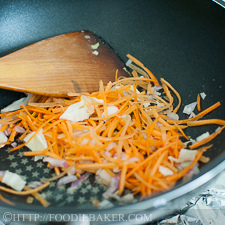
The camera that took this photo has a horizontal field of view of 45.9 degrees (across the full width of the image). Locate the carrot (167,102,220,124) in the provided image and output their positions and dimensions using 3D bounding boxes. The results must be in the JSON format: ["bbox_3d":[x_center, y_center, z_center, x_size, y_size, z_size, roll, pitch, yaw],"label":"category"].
[{"bbox_3d":[0.296,0.004,0.952,0.149,0.021,0.019,-25,21,18],"label":"carrot"}]

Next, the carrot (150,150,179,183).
[{"bbox_3d":[0.149,0.154,0.754,0.062,0.016,0.097,14,32,24],"label":"carrot"}]

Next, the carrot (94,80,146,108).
[{"bbox_3d":[0.034,-0.080,1.046,0.193,0.056,0.177,-16,6,-41],"label":"carrot"}]

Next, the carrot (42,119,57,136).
[{"bbox_3d":[-0.218,0.051,0.904,0.009,0.049,0.050,26,14,-16],"label":"carrot"}]
